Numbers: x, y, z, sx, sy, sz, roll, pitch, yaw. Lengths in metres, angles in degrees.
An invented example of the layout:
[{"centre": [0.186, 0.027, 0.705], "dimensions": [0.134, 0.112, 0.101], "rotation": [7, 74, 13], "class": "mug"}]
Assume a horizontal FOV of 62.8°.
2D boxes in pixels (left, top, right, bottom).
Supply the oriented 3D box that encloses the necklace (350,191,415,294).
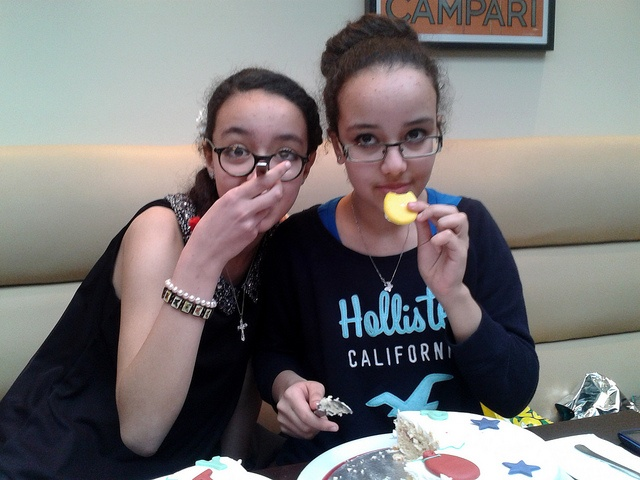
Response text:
[{"centre": [0.219, -0.008, 1.544], "dimensions": [0.129, 0.322, 0.046], "rotation": [-1, 2, -5], "class": "necklace"}]
